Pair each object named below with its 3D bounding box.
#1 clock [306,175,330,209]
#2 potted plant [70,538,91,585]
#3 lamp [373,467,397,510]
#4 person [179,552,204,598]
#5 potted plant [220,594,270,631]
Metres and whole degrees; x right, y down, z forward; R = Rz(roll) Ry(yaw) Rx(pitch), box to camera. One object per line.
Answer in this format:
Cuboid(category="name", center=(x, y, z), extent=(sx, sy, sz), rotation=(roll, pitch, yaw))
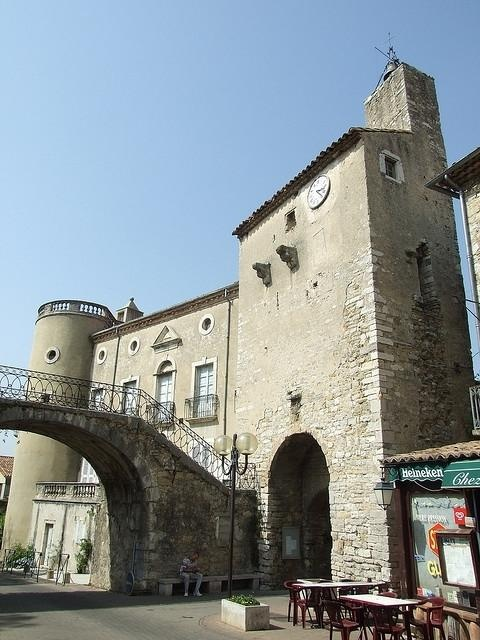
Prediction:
Cuboid(category="clock", center=(1.934, -3.116, 12.808), extent=(0.105, 0.762, 0.749), rotation=(17, -43, -16))
Cuboid(category="potted plant", center=(-4.160, 6.469, 13.803), extent=(0.432, 0.926, 0.434), rotation=(17, -47, -16))
Cuboid(category="lamp", center=(2.500, 2.937, 9.123), extent=(0.274, 0.597, 0.306), rotation=(-14, -23, 18))
Cuboid(category="person", center=(-0.991, 5.289, 10.806), extent=(0.505, 0.787, 0.610), rotation=(12, -25, -22))
Cuboid(category="potted plant", center=(0.105, 4.157, 7.375), extent=(0.495, 0.380, 0.754), rotation=(13, -26, -24))
